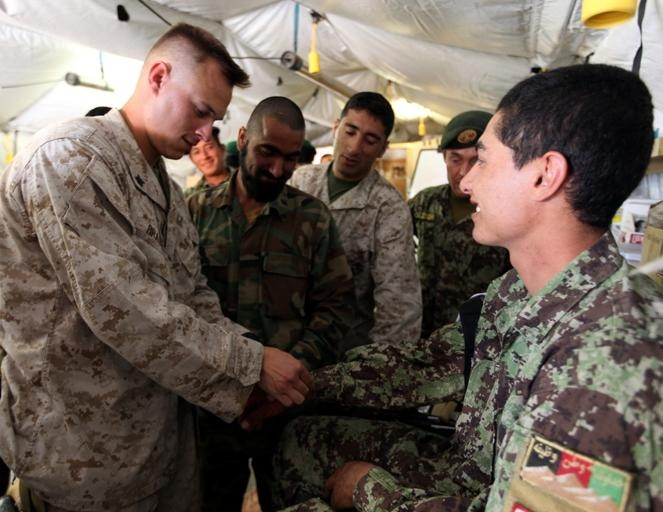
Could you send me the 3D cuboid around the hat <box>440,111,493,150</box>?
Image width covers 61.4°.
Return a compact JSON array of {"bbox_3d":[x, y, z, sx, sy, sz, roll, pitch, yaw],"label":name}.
[{"bbox_3d":[0.884,-0.793,3.621,0.298,0.143,0.404,-14,14,31],"label":"hat"}]
